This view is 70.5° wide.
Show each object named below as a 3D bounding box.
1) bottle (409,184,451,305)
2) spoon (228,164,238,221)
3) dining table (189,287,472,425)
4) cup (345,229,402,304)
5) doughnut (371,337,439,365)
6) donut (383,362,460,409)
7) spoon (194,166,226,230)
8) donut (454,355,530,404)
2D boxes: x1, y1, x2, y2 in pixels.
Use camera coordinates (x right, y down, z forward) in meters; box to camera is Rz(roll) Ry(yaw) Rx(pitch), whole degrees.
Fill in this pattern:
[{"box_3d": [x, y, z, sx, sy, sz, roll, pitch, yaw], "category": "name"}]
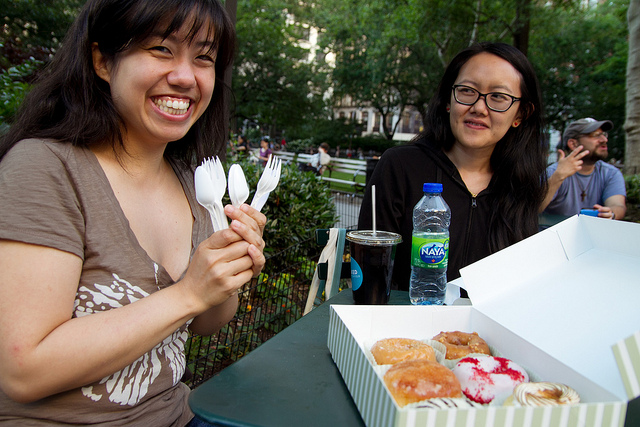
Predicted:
[{"box_3d": [0.611, 0.221, 2.467, 0.239, 0.856, 0.236, 1, -1, 0], "category": "bottle"}, {"box_3d": [-0.382, -0.113, 1.959, 0.035, 0.187, 0.024, -5, 2, -1], "category": "spoon"}, {"box_3d": [0.051, 0.523, 1.957, 0.593, 0.318, 1.224, 3, 5, 25], "category": "dining table"}, {"box_3d": [0.258, 0.221, 2.297, 0.205, 0.430, 0.275, -2, 2, -7], "category": "cup"}, {"box_3d": [0.345, 0.559, 1.805, 0.255, 0.077, 0.257, -1, -4, -36], "category": "doughnut"}, {"box_3d": [0.375, 0.649, 1.660, 0.308, 0.166, 0.338, 1, -6, -2], "category": "donut"}, {"box_3d": [-0.472, -0.073, 1.893, 0.084, 0.356, 0.051, -24, 24, -25], "category": "spoon"}, {"box_3d": [0.639, 0.601, 1.695, 0.204, 0.154, 0.210, 2, 0, -5], "category": "donut"}]
